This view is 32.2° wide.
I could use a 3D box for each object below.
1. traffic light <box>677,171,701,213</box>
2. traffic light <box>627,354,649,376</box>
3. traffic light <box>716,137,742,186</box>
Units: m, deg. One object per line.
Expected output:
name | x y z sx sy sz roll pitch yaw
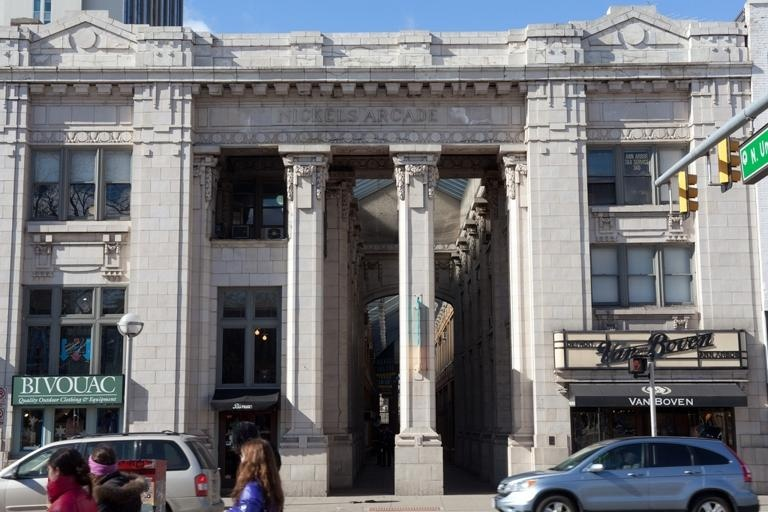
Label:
traffic light | 9.985 -2.066 44.097 0.682 1.517 0.593 -3 0 -21
traffic light | 9.098 3.946 47.814 0.635 0.726 0.788 -1 -9 9
traffic light | 11.038 -3.009 42.713 0.657 1.654 0.675 -2 -9 14
